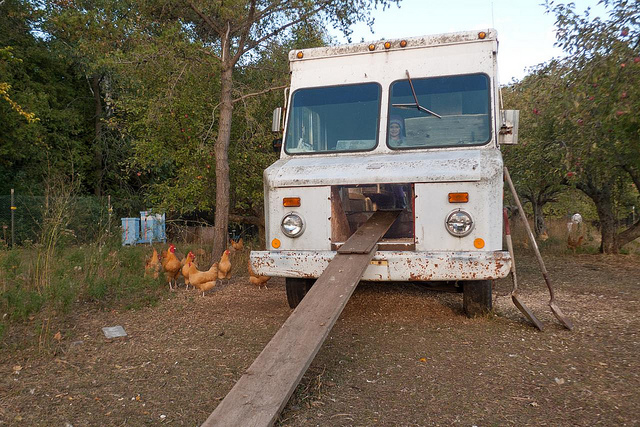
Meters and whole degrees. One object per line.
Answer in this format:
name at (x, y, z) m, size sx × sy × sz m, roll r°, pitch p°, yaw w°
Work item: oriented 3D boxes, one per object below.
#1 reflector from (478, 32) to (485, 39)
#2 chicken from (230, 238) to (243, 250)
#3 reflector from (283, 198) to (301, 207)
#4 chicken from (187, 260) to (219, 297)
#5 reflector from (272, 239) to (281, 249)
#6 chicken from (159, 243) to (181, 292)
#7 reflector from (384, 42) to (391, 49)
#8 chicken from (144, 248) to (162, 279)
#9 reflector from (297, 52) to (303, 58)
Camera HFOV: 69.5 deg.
reflector at (2.827, -3.134, 8.102) m, size 0.094 × 0.111 × 0.017 m, roll -3°, pitch 0°, yaw 12°
chicken at (-2.669, 1.004, 15.002) m, size 0.360 × 0.358 × 0.556 m, roll 7°, pitch 7°, yaw -1°
reflector at (-0.460, -0.193, 7.551) m, size 0.299 × 0.146 × 0.024 m, roll -3°, pitch 0°, yaw 13°
chicken at (-2.453, 1.345, 9.702) m, size 0.603 × 0.763 × 0.413 m, roll -2°, pitch 0°, yaw -15°
reflector at (-0.725, 0.489, 7.651) m, size 0.133 × 0.152 × 0.007 m, roll -3°, pitch 0°, yaw 13°
chicken at (-3.330, 1.169, 10.309) m, size 0.418 × 1.013 × 0.768 m, roll -9°, pitch 7°, yaw -35°
reflector at (1.218, -3.078, 8.388) m, size 0.091 × 0.099 × 0.030 m, roll 16°, pitch -6°, yaw 11°
chicken at (-3.811, 1.164, 10.523) m, size 0.313 × 0.576 × 0.795 m, roll 5°, pitch -29°, yaw -15°
reflector at (-0.386, -3.027, 8.749) m, size 0.086 × 0.095 × 0.024 m, roll 1°, pitch 11°, yaw 0°
